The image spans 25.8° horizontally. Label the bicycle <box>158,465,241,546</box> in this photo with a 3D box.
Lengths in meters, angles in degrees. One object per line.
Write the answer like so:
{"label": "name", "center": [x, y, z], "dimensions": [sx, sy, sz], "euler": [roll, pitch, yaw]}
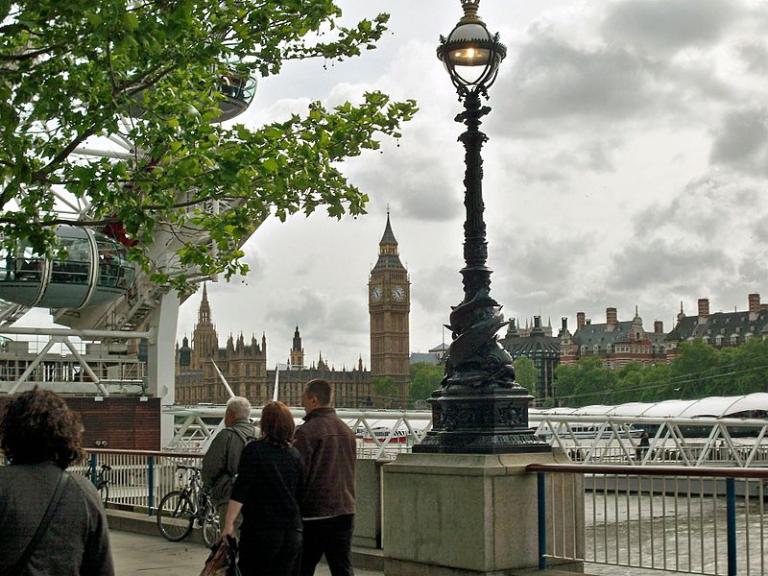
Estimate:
{"label": "bicycle", "center": [-2.612, 3.060, 23.293], "dimensions": [0.935, 1.153, 1.861], "euler": [6, 0, -32]}
